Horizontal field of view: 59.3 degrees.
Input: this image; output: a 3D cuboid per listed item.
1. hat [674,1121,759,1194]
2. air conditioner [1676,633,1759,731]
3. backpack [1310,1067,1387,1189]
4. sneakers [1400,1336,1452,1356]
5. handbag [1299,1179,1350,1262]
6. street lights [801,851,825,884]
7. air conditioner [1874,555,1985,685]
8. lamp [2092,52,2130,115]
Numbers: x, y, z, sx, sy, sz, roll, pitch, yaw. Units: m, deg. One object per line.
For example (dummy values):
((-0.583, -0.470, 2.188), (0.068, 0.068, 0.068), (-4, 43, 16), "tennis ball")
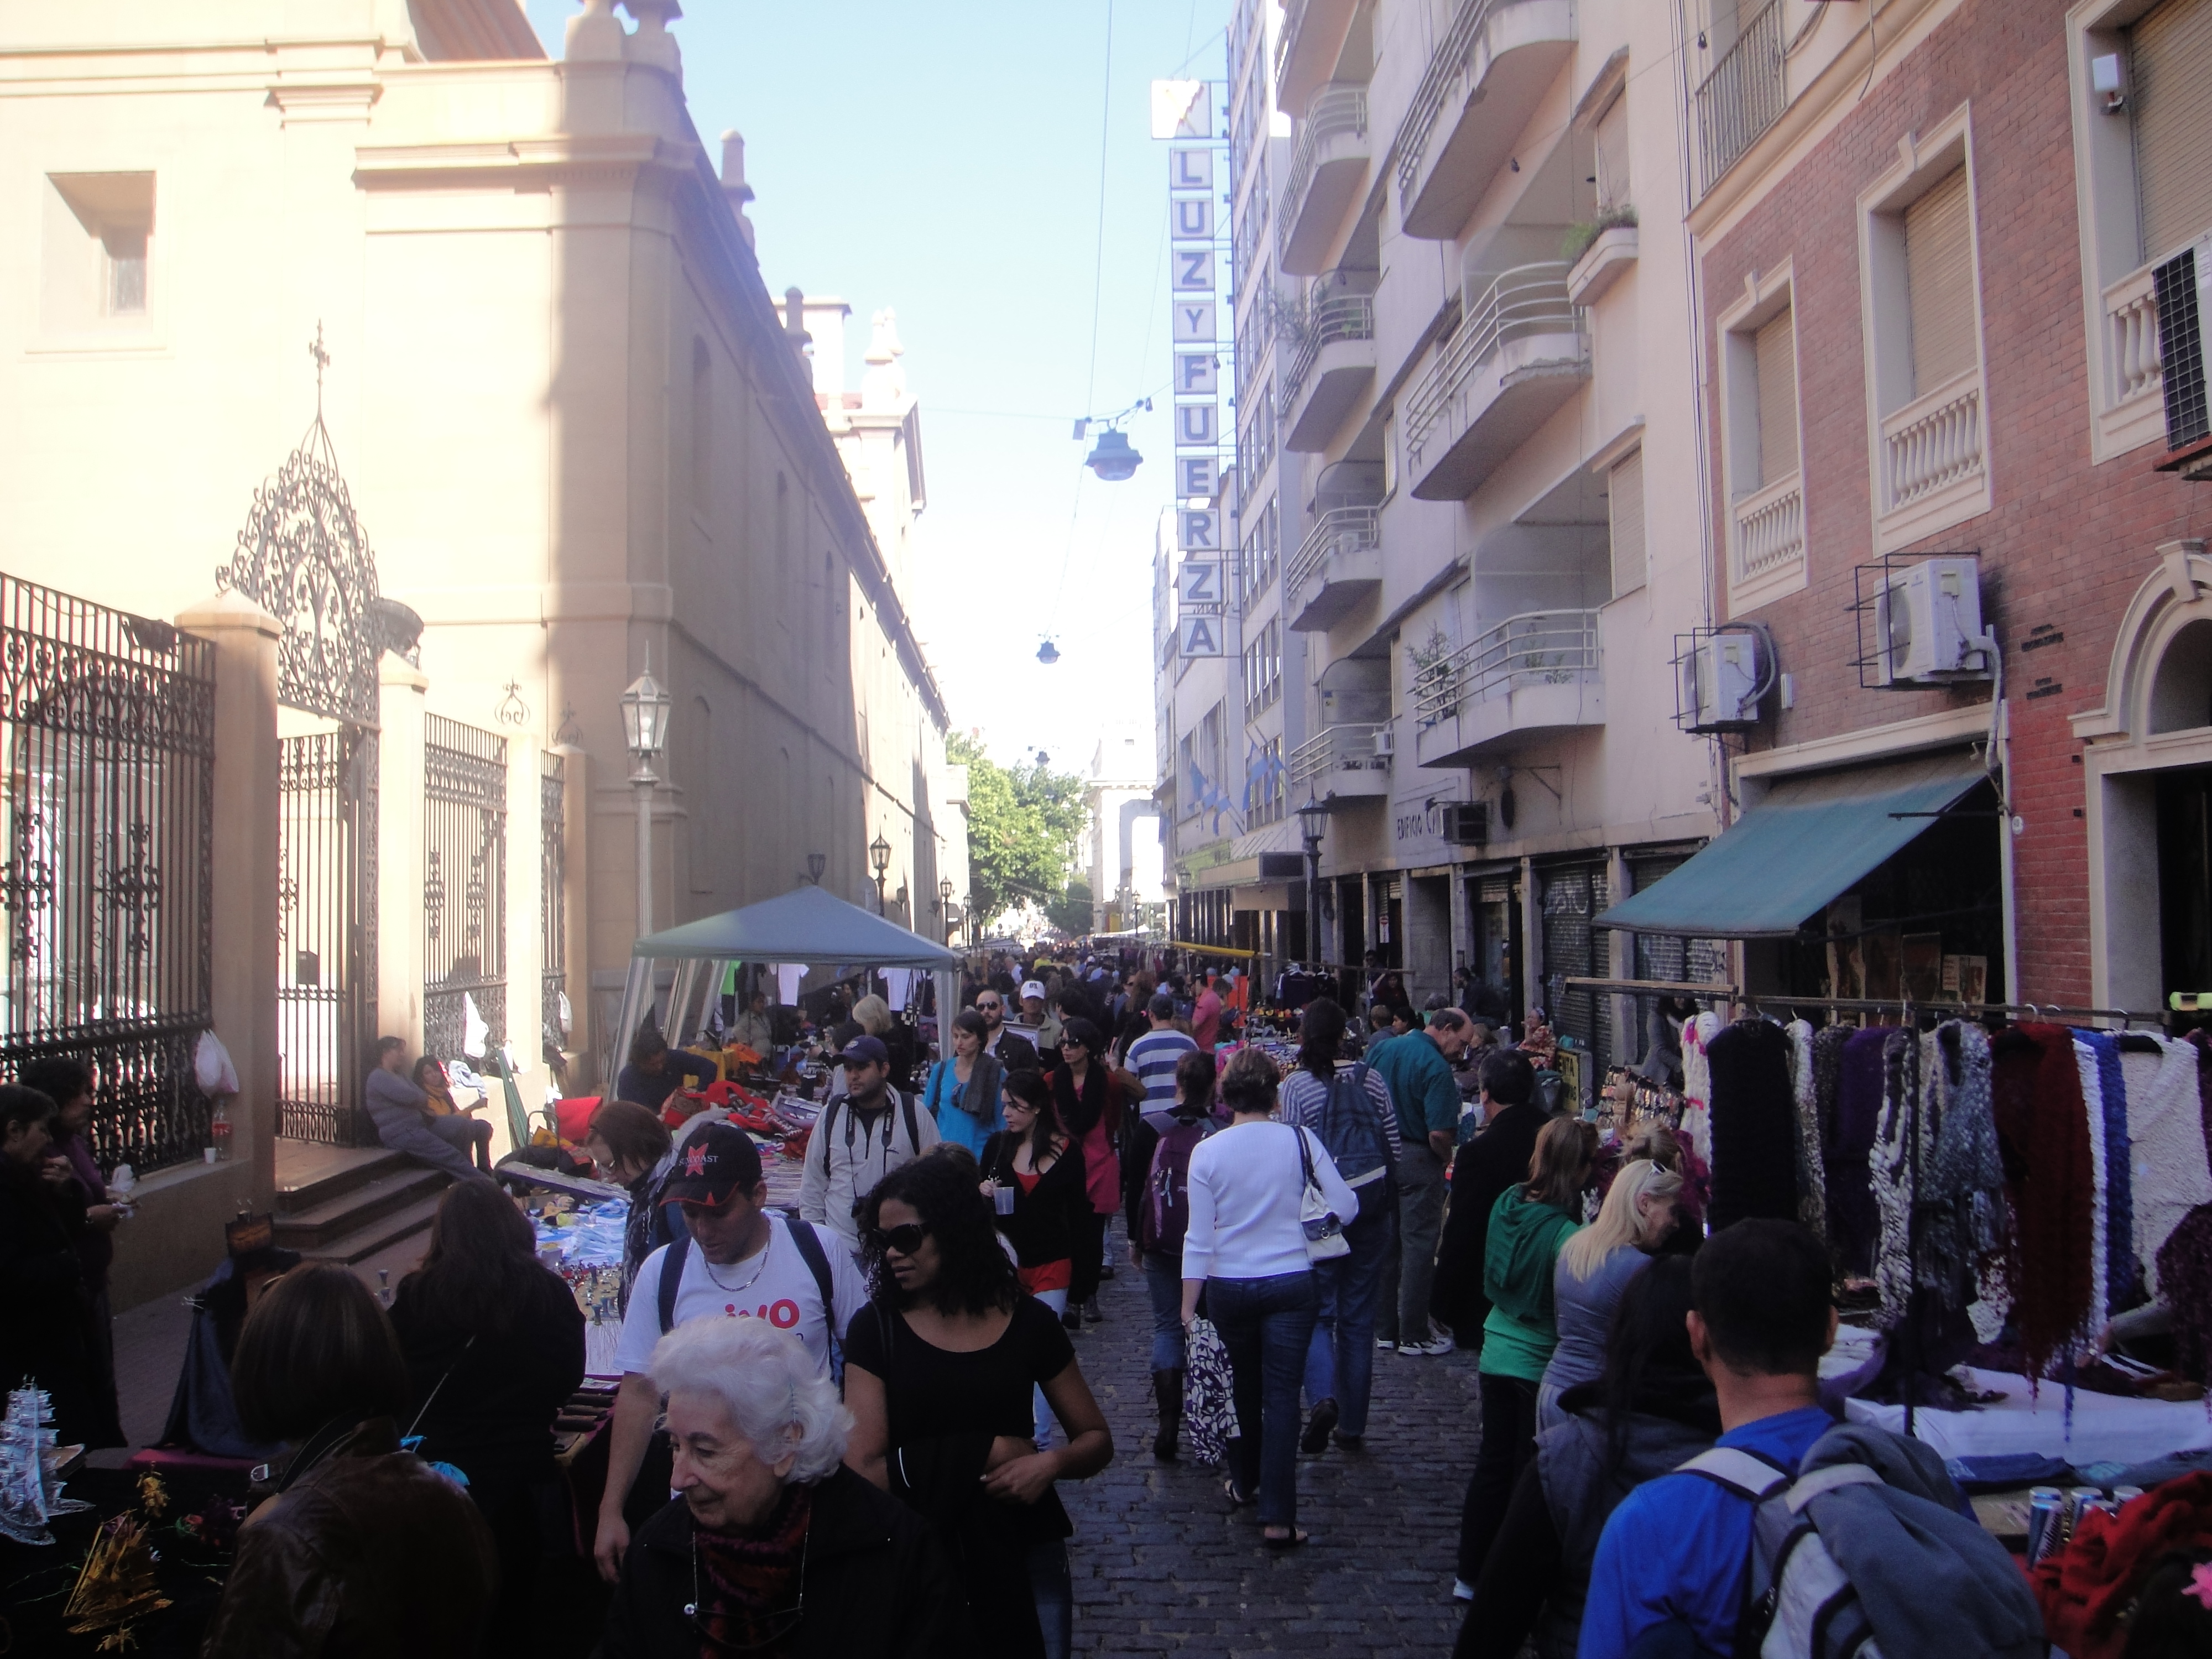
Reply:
((-1.450, 1.236, 7.229), (0.326, 0.254, 0.318), (2, 2, -9), "hat")
((4.892, -1.154, 15.822), (0.410, 0.837, 0.807), (3, -8, -13), "air conditioner")
((1.280, 1.658, 10.568), (0.418, 0.682, 0.350), (5, -25, -28), "backpack")
((2.003, 3.302, 12.318), (0.300, 0.143, 0.120), (-4, 0, -7), "sneakers")
((1.009, 1.874, 9.266), (0.140, 0.374, 0.272), (-23, -1, -34), "handbag")
((-5.453, 0.780, 36.193), (0.437, 0.550, 0.902), (-3, -2, -12), "street lights")
((5.285, -1.305, 12.690), (0.373, 0.770, 0.747), (0, -4, -9), "air conditioner")
((5.797, -4.351, 11.304), (0.212, 0.291, 0.152), (4, 2, 27), "lamp")
